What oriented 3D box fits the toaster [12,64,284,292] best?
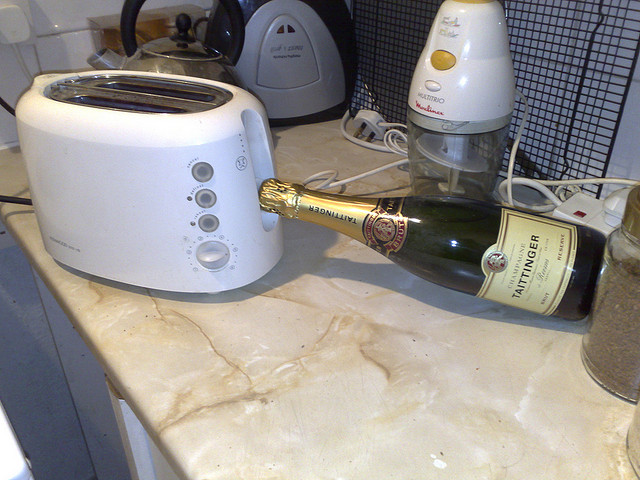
[{"bbox_3d":[-0.177,-0.091,0.763,0.379,0.223,0.204,14,38,11],"label":"toaster"}]

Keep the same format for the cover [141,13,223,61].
[{"bbox_3d":[-0.211,-0.299,0.905,0.110,0.042,0.100,-12,39,-29],"label":"cover"}]
